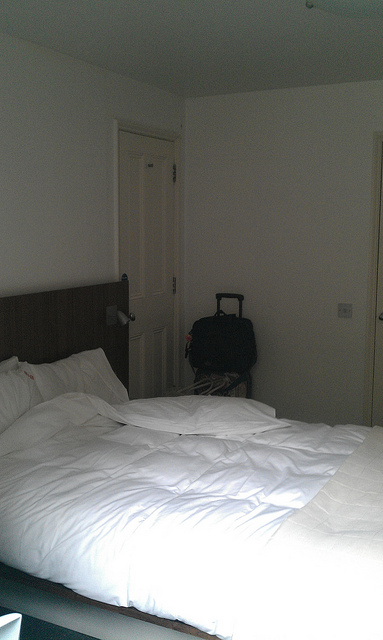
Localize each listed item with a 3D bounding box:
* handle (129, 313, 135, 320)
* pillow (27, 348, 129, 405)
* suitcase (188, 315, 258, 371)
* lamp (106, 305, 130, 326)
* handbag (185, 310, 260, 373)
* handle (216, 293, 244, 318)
[{"bbox_3d":[-0.376,-0.027,3.092,0.009,0.039,0.035,-2,-12,-35],"label":"handle"},{"bbox_3d":[-0.521,0.247,2.338,0.093,0.293,0.317,-29,-17,27],"label":"pillow"},{"bbox_3d":[0.264,0.203,3.786,0.600,0.625,0.354,-2,-8,17],"label":"suitcase"},{"bbox_3d":[-0.448,-0.035,2.974,0.107,0.125,0.115,2,5,19],"label":"lamp"},{"bbox_3d":[0.240,0.149,3.727,0.522,0.501,0.297,2,10,9],"label":"handbag"},{"bbox_3d":[0.312,-0.124,3.808,0.153,0.169,0.031,9,17,30],"label":"handle"}]
